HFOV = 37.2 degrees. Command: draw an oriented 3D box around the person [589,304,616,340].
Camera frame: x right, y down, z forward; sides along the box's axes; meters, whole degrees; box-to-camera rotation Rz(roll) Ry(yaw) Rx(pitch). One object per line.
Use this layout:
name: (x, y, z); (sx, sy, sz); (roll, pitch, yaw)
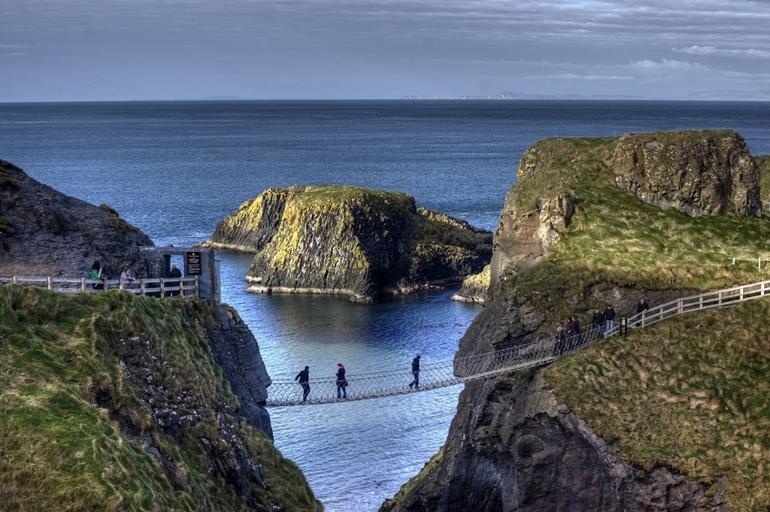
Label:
person: (13.413, 4.074, 69.941); (1.490, 1.868, 1.086); (1, 6, 11)
